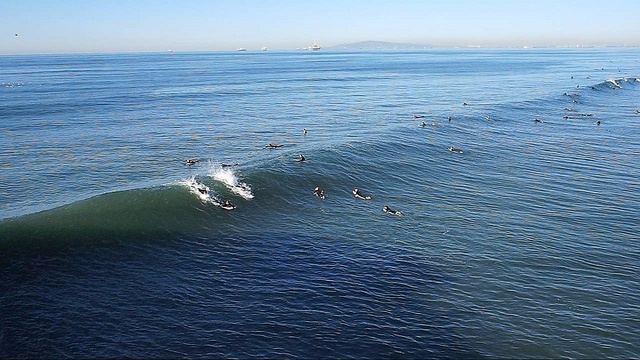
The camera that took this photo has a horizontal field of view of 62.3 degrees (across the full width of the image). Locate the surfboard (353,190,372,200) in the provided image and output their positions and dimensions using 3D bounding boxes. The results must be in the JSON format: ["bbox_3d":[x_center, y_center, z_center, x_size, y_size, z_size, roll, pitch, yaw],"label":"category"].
[{"bbox_3d":[4.733,1.588,61.788,1.702,0.947,2.279,-11,19,-25],"label":"surfboard"}]

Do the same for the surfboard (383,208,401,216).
[{"bbox_3d":[7.956,3.427,58.124,2.087,0.531,0.815,10,4,17],"label":"surfboard"}]
